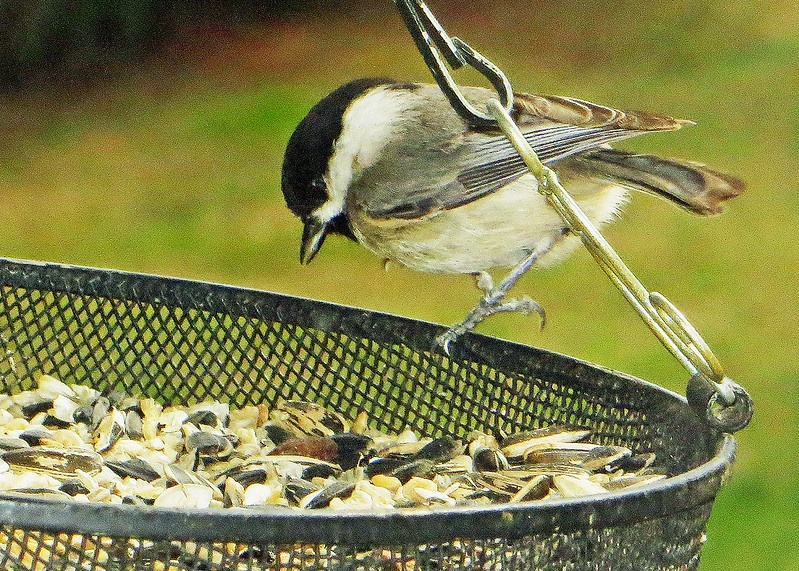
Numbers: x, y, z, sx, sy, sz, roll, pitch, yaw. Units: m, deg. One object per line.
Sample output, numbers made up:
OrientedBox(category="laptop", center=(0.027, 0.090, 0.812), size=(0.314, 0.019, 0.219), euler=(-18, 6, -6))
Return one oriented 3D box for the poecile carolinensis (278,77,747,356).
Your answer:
OrientedBox(category="poecile carolinensis", center=(0.143, -0.135, 2.037), size=(0.630, 0.396, 0.267), euler=(-13, 2, 9))
